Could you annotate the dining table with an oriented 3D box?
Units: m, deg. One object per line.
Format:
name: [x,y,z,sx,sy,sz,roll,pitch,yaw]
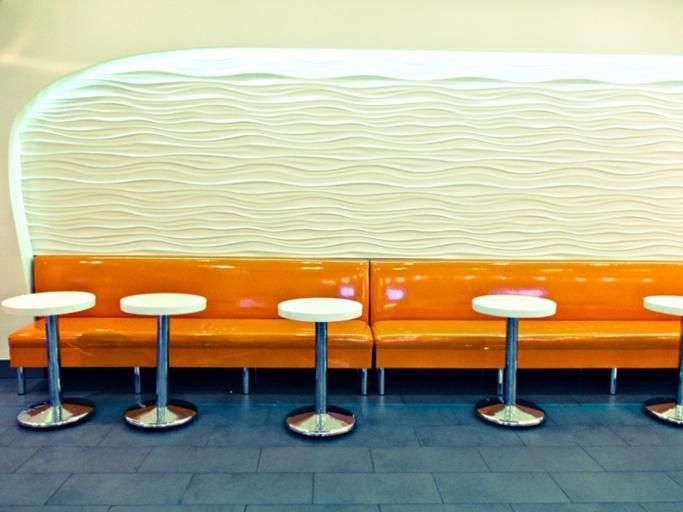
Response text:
dining table: [-0.453,0.813,5.599,4.232,1.017,0.833,-1,16,-1]
